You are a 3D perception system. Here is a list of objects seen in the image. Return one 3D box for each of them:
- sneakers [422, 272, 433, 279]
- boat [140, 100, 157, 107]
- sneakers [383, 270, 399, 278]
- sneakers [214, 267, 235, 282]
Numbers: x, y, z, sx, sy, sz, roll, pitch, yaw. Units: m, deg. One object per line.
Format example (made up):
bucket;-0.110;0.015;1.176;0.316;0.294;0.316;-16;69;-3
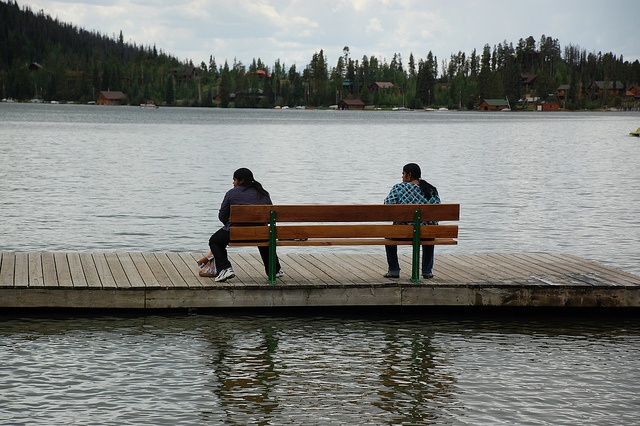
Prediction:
sneakers;2.276;1.356;22.001;0.239;0.078;0.099;10;18;-40
boat;-47.013;-29.719;281.731;3.785;2.491;5.381;0;-1;-4
sneakers;1.491;1.346;22.016;0.360;0.126;0.116;-1;0;-23
sneakers;-1.975;1.296;21.488;0.531;0.228;0.196;-17;-2;37
